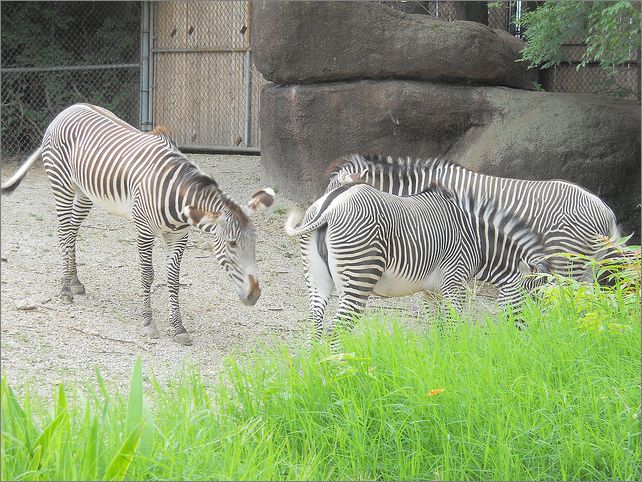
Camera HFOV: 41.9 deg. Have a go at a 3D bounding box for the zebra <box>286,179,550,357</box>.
[{"bbox_3d":[0.746,0.231,5.892,1.723,1.149,0.564,2,0,-10],"label":"zebra"}]
